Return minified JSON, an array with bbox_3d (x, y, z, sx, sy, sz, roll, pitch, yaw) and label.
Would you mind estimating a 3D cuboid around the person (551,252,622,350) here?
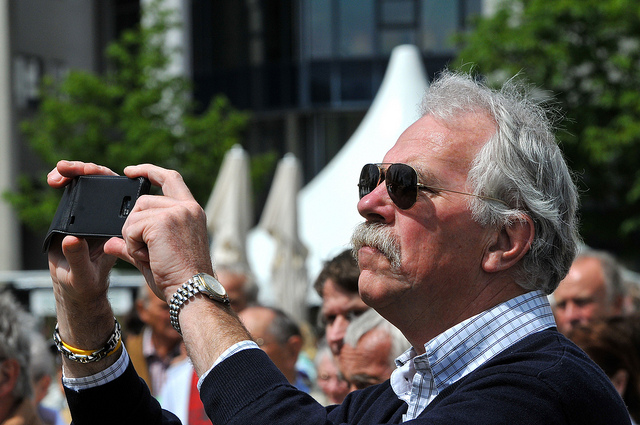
[{"bbox_3d":[3.559,1.168,17.327,0.886,1.112,1.148,-8,-1,32],"label":"person"}]
